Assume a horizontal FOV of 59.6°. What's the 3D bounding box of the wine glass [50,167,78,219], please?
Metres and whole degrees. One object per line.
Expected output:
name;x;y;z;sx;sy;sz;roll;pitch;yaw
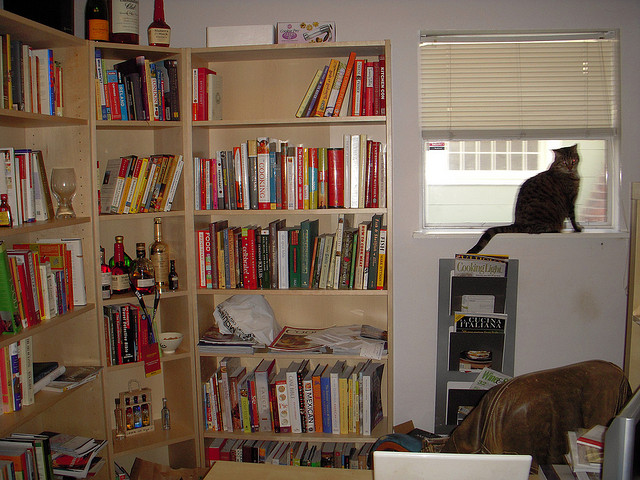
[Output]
wine glass;-1.242;-0.226;2.723;0.115;0.242;0.192;-1;6;-24

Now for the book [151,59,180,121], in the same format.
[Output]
book;-0.781;-0.783;2.911;0.138;0.288;0.081;-2;15;-15

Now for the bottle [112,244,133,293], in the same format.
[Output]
bottle;-1.025;0.149;2.906;0.098;0.255;0.064;0;5;-21

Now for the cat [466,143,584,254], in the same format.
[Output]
cat;1.198;-0.226;3.161;0.592;0.613;0.142;0;5;-14

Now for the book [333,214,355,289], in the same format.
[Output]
book;0.142;0.063;3.010;0.057;0.344;0.158;5;10;6

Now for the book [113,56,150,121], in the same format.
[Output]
book;-0.960;-0.766;2.854;0.050;0.318;0.278;-15;22;-43

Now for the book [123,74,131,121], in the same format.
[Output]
book;-0.987;-0.738;2.860;0.026;0.254;0.191;-7;15;-21

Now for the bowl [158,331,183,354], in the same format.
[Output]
bowl;-0.820;0.563;3.047;0.107;0.061;0.106;1;-3;0

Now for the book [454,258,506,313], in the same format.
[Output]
book;0.918;0.248;3.175;0.294;0.364;0.029;1;9;8

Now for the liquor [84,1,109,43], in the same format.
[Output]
liquor;-1.113;-1.085;2.793;0.110;0.221;0.137;0;5;-23

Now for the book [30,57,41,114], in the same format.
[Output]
book;-1.333;-0.725;2.614;0.017;0.254;0.052;4;6;30

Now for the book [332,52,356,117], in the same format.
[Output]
book;0.124;-0.828;2.938;0.032;0.307;0.235;15;38;-7

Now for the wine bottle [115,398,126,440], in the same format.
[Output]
wine bottle;-1.095;0.981;3.040;0.050;0.191;0.109;-2;6;-39

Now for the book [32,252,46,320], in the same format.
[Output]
book;-1.282;0.214;2.554;0.050;0.310;0.023;-1;6;-32

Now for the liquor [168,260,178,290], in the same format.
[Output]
liquor;-0.797;0.191;3.047;0.048;0.152;0.091;1;5;-8

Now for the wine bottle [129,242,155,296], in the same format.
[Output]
wine bottle;-0.940;0.154;2.947;0.133;0.272;0.127;2;5;0

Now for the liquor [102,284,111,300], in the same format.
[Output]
liquor;-1.083;0.268;2.844;0.060;0.068;0.060;3;13;3

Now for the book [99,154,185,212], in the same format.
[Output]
book;-0.975;-0.270;2.968;0.379;0.336;0.250;-2;-18;17

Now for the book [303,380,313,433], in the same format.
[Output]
book;-0.065;0.901;3.010;0.058;0.292;0.025;1;5;-2

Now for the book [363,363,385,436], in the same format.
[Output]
book;0.286;0.873;3.039;0.177;0.320;0.331;1;8;14

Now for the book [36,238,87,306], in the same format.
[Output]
book;-1.246;0.157;2.677;0.304;0.355;0.051;4;16;27

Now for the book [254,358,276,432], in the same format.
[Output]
book;-0.303;0.875;3.072;0.058;0.298;0.141;4;9;9
